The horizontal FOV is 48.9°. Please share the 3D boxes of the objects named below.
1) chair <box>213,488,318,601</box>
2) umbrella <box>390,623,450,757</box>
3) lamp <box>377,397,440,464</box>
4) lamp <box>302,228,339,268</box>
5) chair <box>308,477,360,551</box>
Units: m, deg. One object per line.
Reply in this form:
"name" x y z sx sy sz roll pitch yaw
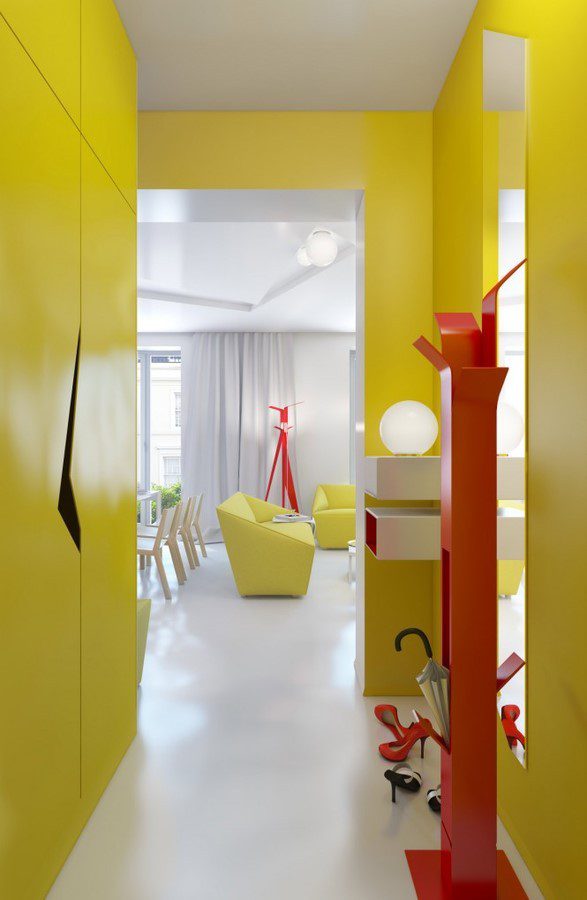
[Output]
"chair" -0.232 0.773 5.335 0.717 0.676 1.400 0 1 -2
"umbrella" 0.354 0.602 1.642 0.098 0.362 0.090 -13 13 30
"lamp" 0.437 -0.048 2.486 0.156 0.280 0.198 3 -3 -3
"lamp" 0.164 -1.233 3.879 0.170 0.223 0.181 0 1 -12
"chair" 0.507 0.820 7.134 0.606 1.037 0.828 1 -8 -10
